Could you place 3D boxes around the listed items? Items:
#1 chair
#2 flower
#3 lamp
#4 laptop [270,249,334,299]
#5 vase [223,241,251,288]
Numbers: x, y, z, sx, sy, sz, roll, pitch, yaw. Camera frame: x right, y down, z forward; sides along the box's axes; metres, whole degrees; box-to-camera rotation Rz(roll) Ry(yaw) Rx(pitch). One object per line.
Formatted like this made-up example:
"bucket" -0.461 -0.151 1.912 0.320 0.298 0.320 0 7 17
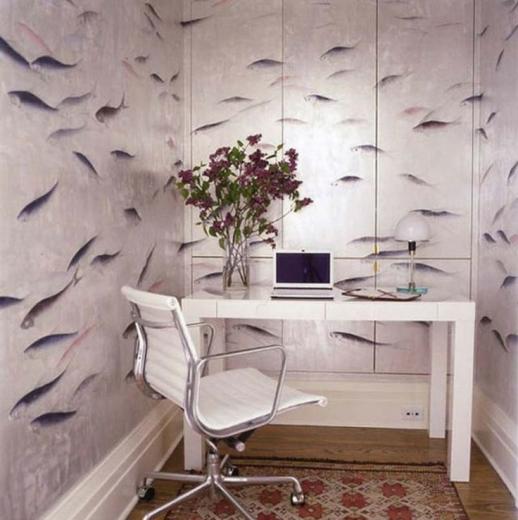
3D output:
"chair" -0.125 0.571 2.446 0.891 1.151 0.861 -3 4 -23
"flower" -0.075 -0.295 3.008 0.788 0.836 0.472 -1 7 -6
"lamp" 0.816 -0.040 2.786 0.178 0.413 0.594 2 7 17
"laptop" 0.217 0.069 2.660 0.316 0.232 0.231 0 3 5
"vase" -0.127 0.016 2.938 0.140 0.254 0.278 -1 7 -3
